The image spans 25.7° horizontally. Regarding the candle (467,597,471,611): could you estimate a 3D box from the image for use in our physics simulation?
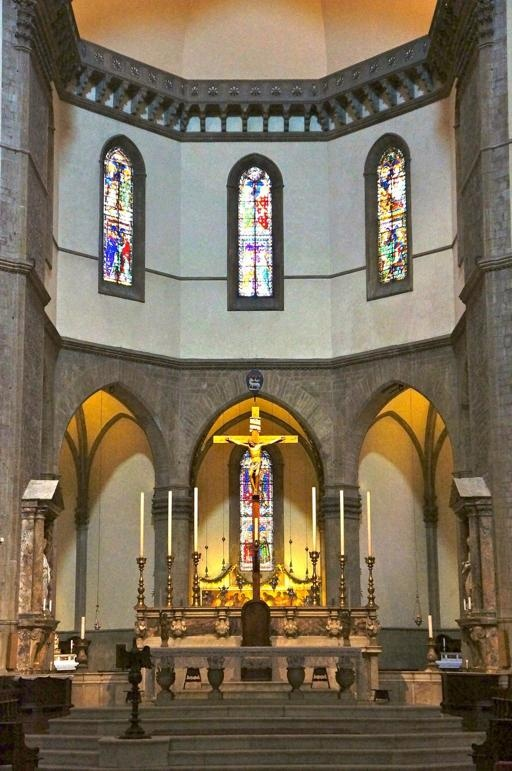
[{"bbox_3d":[2.921,3.001,15.366,0.044,0.167,0.258,-5,-16,10],"label":"candle"}]
